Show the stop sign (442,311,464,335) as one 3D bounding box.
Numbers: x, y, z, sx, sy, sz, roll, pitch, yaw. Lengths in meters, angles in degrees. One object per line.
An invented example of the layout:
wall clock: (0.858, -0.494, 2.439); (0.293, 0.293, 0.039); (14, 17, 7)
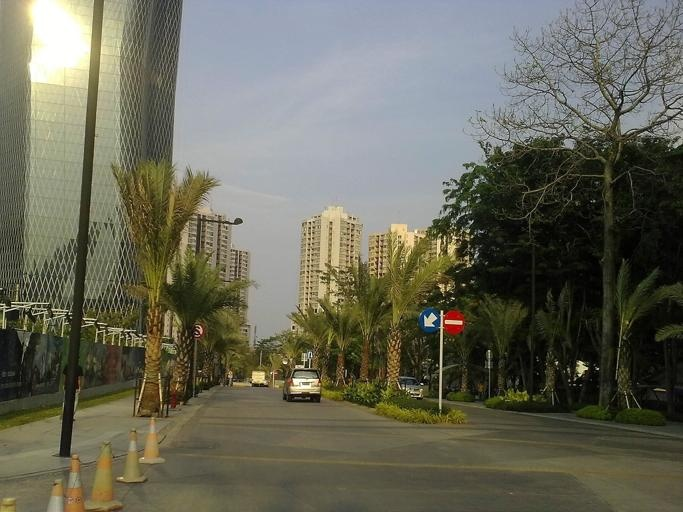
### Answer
stop sign: (4.278, 2.490, 25.736); (0.744, 0.966, 0.882); (1, -13, 4)

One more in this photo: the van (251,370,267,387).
van: (-11.784, 17.597, 96.889); (1.574, 2.177, 2.880); (1, -14, 3)

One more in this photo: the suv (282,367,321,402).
suv: (-2.005, 6.967, 36.673); (1.835, 1.797, 1.166); (1, -12, 4)

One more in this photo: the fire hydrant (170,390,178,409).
fire hydrant: (-6.737, 5.795, 27.231); (0.230, 0.730, 1.229); (5, -14, -17)

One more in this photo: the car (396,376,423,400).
car: (4.572, 8.544, 43.832); (1.304, 1.766, 5.235); (1, -15, 4)
